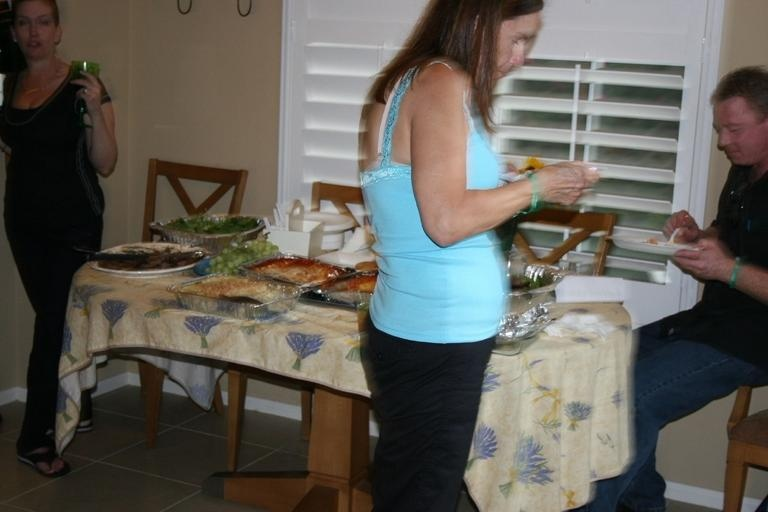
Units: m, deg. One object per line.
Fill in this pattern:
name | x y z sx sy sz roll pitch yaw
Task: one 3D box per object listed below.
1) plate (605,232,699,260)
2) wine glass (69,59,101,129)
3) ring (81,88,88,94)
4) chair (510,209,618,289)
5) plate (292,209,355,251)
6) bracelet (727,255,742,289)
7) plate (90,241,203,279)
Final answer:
plate | 1.085 -0.049 2.508 0.216 0.032 0.173 6 13 8
wine glass | -1.318 -0.707 2.729 0.104 0.274 0.214 -3 12 -26
ring | -1.332 -0.733 2.753 0.022 0.008 0.027 9 28 12
chair | 0.897 -0.054 3.148 0.362 0.639 0.440 7 5 44
plate | -0.255 -0.104 2.799 0.221 0.146 0.251 2 11 -4
bracelet | 1.405 0.071 2.479 0.042 0.120 0.038 7 11 22
plate | -0.941 0.032 2.494 0.410 0.057 0.418 3 19 11
